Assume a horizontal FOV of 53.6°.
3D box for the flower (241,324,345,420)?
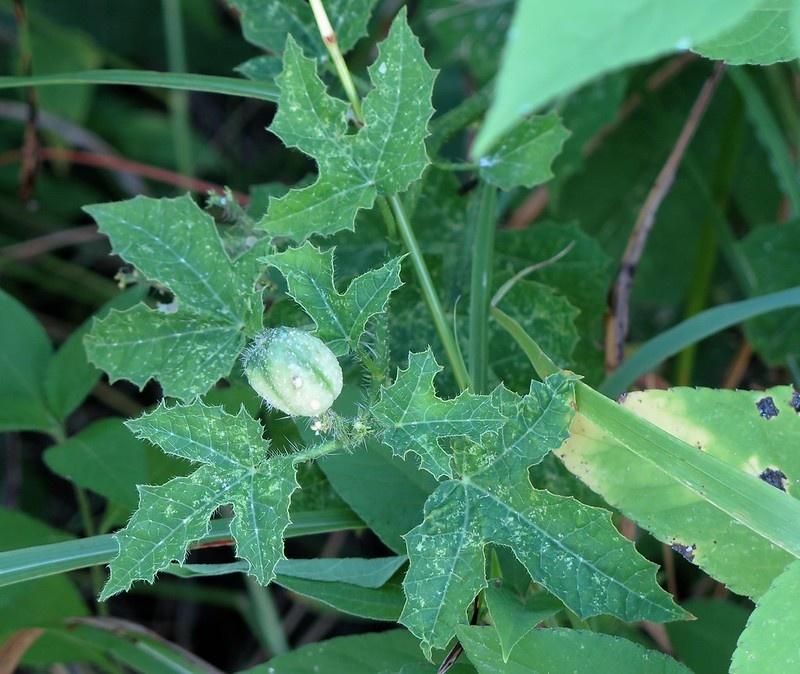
[{"bbox_3d":[-0.086,0.029,0.639,0.076,0.065,0.048,31,-2,-4],"label":"flower"}]
